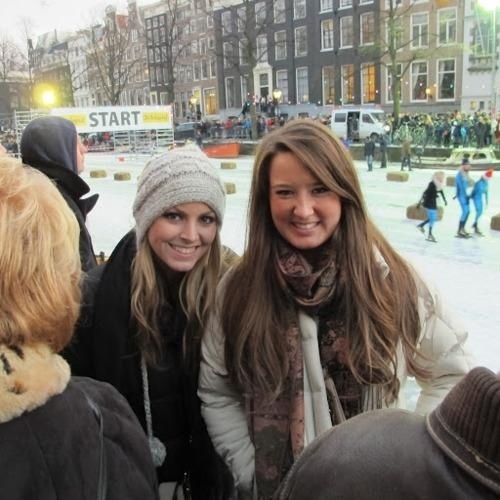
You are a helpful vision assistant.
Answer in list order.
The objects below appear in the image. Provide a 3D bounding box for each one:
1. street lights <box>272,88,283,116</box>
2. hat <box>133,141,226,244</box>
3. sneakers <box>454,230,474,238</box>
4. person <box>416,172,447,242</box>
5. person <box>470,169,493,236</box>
[{"bbox_3d":[0.856,-4.640,13.984,0.286,0.726,0.679,0,15,13],"label":"street lights"},{"bbox_3d":[-0.325,-0.266,1.903,0.307,0.388,0.372,-9,2,-43],"label":"hat"},{"bbox_3d":[4.045,-0.301,8.372,0.275,0.150,0.106,0,8,6],"label":"sneakers"},{"bbox_3d":[3.603,-0.808,8.759,0.500,1.567,0.572,14,54,25],"label":"person"},{"bbox_3d":[4.386,-0.882,8.422,0.417,1.311,0.351,20,60,31],"label":"person"}]
